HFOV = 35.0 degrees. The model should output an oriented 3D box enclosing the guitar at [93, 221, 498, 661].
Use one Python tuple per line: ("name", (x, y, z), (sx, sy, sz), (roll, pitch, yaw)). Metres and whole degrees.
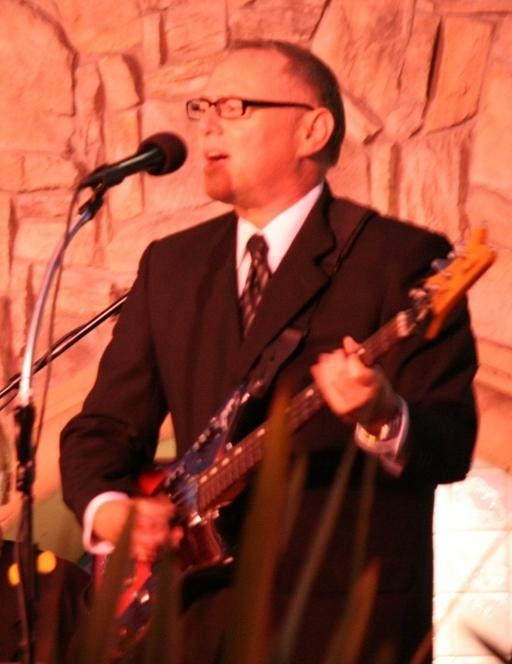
("guitar", (0.041, 0.186, 1.184), (0.732, 0.524, 0.357), (-6, -6, 36))
